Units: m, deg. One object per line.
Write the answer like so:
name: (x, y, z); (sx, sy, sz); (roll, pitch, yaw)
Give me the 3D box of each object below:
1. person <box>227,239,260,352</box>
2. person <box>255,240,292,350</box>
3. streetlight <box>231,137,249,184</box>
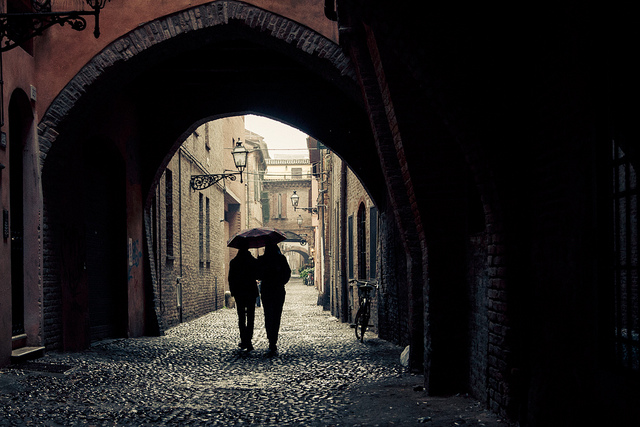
person: (-1.394, 1.499, 12.179); (0.557, 2.088, 1.158); (0, -6, -8)
person: (-0.852, 1.473, 12.031); (0.654, 2.030, 1.237); (0, -6, -6)
streetlight: (-2.374, -1.635, 19.534); (0.450, 1.427, 0.453); (-4, -1, -9)
